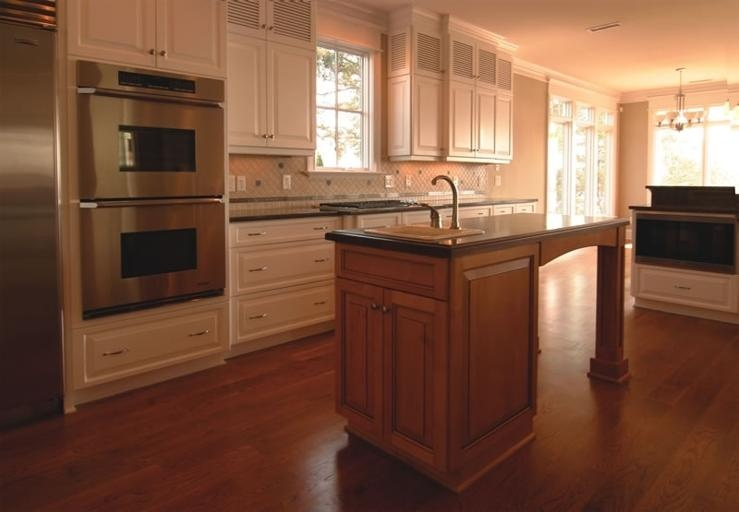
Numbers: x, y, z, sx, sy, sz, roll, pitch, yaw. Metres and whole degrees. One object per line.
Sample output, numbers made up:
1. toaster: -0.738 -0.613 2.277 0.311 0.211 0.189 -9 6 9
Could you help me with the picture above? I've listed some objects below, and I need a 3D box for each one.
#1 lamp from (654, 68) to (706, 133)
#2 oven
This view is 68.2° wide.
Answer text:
1. lamp: 4.900 -2.473 8.592 0.660 0.899 0.663 -3 6 23
2. oven: -1.726 -0.550 4.150 1.062 1.761 0.906 -8 21 -40
